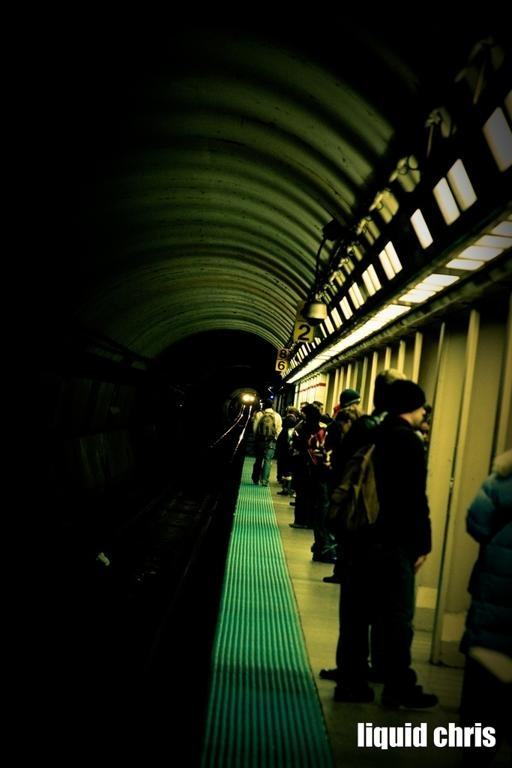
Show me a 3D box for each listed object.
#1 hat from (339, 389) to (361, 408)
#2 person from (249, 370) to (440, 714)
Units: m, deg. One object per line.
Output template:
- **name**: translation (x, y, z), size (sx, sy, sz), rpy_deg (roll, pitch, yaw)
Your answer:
- **hat**: translation (1.052, 0.189, 5.731), size (0.162, 0.140, 0.235), rpy_deg (-8, -15, -23)
- **person**: translation (0.778, 1.009, 3.242), size (0.666, 2.013, 0.284), rpy_deg (-8, -9, 30)
